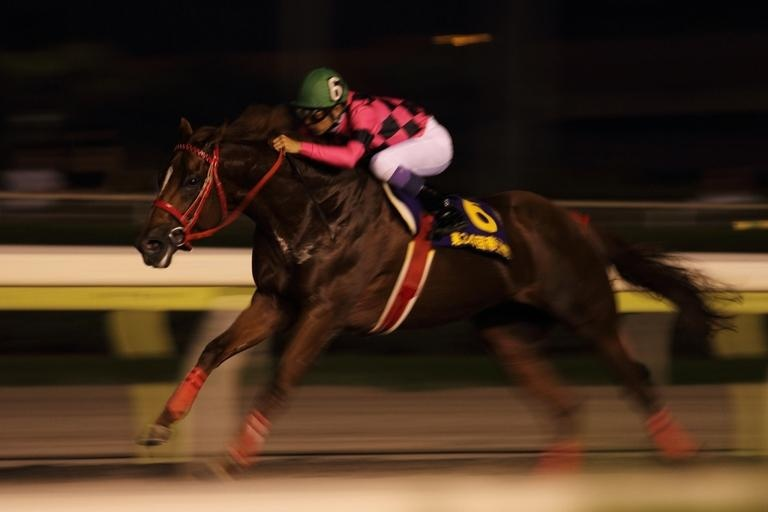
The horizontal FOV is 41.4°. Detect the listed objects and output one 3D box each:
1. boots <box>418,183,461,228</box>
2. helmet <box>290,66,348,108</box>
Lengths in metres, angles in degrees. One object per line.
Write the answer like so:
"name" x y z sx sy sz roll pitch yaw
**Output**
"boots" 0.179 -0.175 3.502 0.124 0.181 0.050 -38 9 12
"helmet" -0.235 -0.587 3.472 0.214 0.094 0.143 -21 47 -32
